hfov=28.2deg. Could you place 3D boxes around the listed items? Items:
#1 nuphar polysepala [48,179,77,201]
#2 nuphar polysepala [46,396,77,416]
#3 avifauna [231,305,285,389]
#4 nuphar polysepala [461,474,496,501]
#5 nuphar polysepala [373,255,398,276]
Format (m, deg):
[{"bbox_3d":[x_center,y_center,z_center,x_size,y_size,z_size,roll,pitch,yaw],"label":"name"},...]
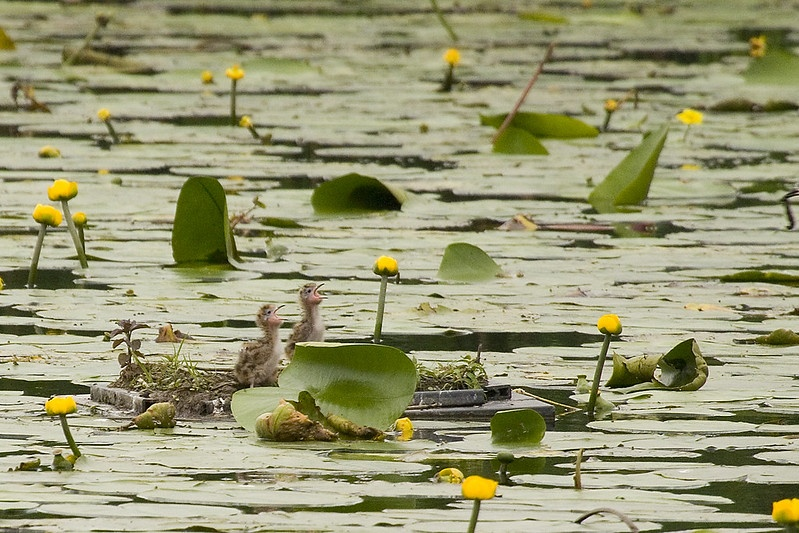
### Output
[{"bbox_3d":[-1.985,-0.453,9.360,0.193,0.114,0.150,-7,1,29],"label":"nuphar polysepala"},{"bbox_3d":[-1.536,0.640,7.222,0.112,0.060,0.128,4,-9,-33],"label":"nuphar polysepala"},{"bbox_3d":[-0.706,0.413,8.008,0.231,0.391,0.337,15,17,21],"label":"avifauna"},{"bbox_3d":[0.343,0.926,6.612,0.138,0.059,0.110,-2,-13,32],"label":"nuphar polysepala"},{"bbox_3d":[-0.092,-0.001,8.249,0.133,0.100,0.109,-2,1,17],"label":"nuphar polysepala"}]
